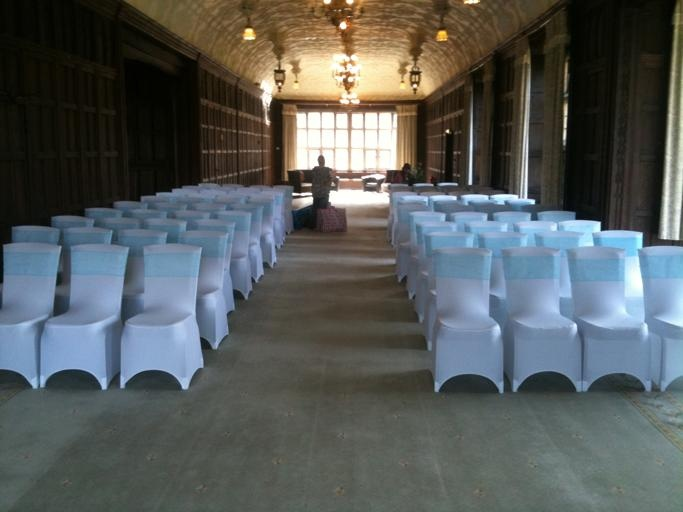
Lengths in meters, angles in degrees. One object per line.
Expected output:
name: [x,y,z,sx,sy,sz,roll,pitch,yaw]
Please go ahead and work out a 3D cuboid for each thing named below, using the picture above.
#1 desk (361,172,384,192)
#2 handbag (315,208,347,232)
desk: [1.703,-3.888,25.843,1.061,0.656,0.996,0,4,3]
handbag: [-0.266,-0.950,12.732,0.644,0.603,0.246,0,15,-1]
